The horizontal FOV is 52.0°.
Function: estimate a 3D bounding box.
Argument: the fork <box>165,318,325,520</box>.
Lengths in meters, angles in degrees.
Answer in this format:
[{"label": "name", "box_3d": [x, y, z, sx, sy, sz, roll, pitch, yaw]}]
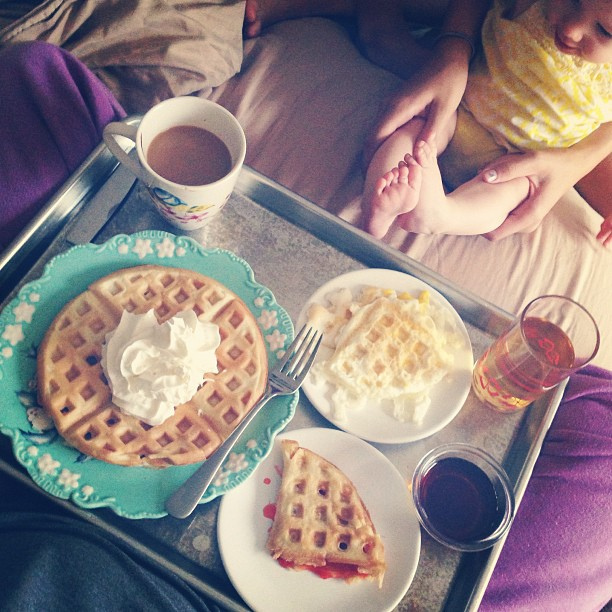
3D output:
[{"label": "fork", "box_3d": [-0.127, 0.228, 1.208, 0.065, 0.053, 0.466, 34, 64, 12]}]

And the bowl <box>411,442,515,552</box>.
[{"label": "bowl", "box_3d": [0.309, 0.375, 1.234, 0.198, 0.102, 0.198, 4, 74, -13]}]

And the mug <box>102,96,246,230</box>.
[{"label": "mug", "box_3d": [-0.265, -0.286, 1.333, 0.241, 0.268, 0.221, 45, 58, 9]}]

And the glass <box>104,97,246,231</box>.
[{"label": "glass", "box_3d": [-0.236, -0.302, 1.290, 0.280, 0.200, 0.207, 29, 65, -6]}]

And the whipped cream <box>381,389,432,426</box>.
[{"label": "whipped cream", "box_3d": [0.212, 0.216, 1.297, 0.095, 0.038, 0.071, -8, 77, -16]}]

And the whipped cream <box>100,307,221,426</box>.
[{"label": "whipped cream", "box_3d": [-0.273, 0.111, 1.177, 0.217, 0.091, 0.216, 4, 74, -13]}]
